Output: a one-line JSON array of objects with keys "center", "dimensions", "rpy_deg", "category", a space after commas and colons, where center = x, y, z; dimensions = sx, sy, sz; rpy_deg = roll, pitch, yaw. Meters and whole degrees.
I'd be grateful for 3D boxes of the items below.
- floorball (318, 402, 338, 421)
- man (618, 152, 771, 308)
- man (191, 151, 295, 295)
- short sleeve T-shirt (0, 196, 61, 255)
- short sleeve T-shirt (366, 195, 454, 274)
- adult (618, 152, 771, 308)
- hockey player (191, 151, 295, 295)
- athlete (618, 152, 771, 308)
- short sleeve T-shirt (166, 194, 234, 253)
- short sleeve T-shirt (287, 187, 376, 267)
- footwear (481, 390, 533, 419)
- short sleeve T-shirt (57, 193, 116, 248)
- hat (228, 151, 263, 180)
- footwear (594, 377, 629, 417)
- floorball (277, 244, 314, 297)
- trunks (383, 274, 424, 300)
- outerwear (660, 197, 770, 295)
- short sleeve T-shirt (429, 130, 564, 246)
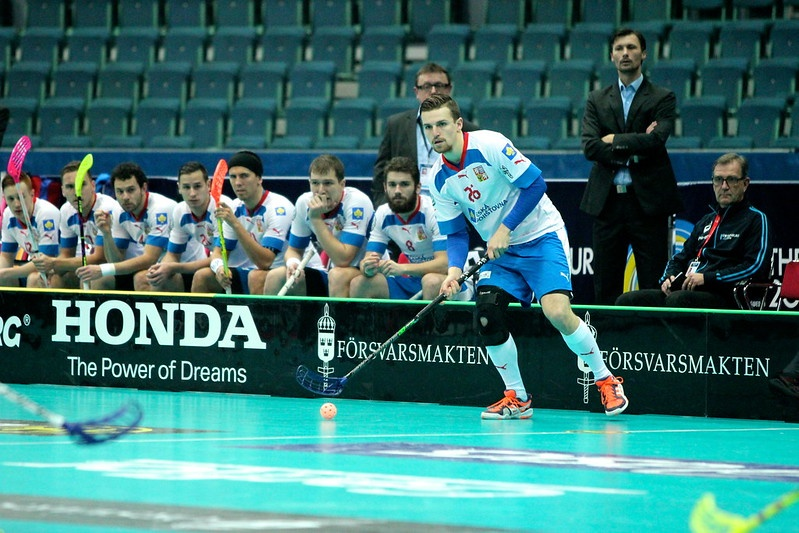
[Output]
[{"center": [-0.510, 1.051, 7.091], "dimensions": [0.109, 0.114, 0.106], "rpy_deg": [3, -12, -13], "category": "floorball"}, {"center": [2.368, -0.102, 7.887], "dimensions": [1.209, 1.731, 0.900], "rpy_deg": [2, 1, -21], "category": "man"}, {"center": [-1.363, -0.107, 8.747], "dimensions": [0.688, 1.759, 0.985], "rpy_deg": [3, 3, 24], "category": "man"}, {"center": [-3.588, -0.399, 9.513], "dimensions": [0.522, 0.439, 0.297], "rpy_deg": [-4, 3, 31], "category": "short sleeve T-shirt"}, {"center": [0.137, -0.322, 8.356], "dimensions": [0.860, 0.716, 0.512], "rpy_deg": [-2, 6, 18], "category": "short sleeve T-shirt"}, {"center": [2.352, -0.107, 7.904], "dimensions": [1.220, 1.708, 0.880], "rpy_deg": [2, 1, -16], "category": "adult"}, {"center": [-1.359, -0.120, 8.753], "dimensions": [0.692, 1.760, 0.961], "rpy_deg": [4, 4, 25], "category": "hockey player"}, {"center": [2.364, -0.091, 7.876], "dimensions": [1.203, 1.726, 0.906], "rpy_deg": [1, 1, -22], "category": "athlete"}, {"center": [-1.835, -0.361, 8.993], "dimensions": [0.820, 0.716, 0.421], "rpy_deg": [0, 0, -1], "category": "short sleeve T-shirt"}, {"center": [-0.600, -0.393, 8.602], "dimensions": [0.817, 0.892, 0.630], "rpy_deg": [1, 1, 39], "category": "short sleeve T-shirt"}, {"center": [0.813, 1.039, 7.280], "dimensions": [0.420, 0.228, 0.168], "rpy_deg": [1, -4, -12], "category": "footwear"}, {"center": [-2.923, -0.436, 9.181], "dimensions": [0.457, 0.478, 0.262], "rpy_deg": [-5, -6, 11], "category": "short sleeve T-shirt"}, {"center": [-1.339, -0.941, 8.693], "dimensions": [0.237, 0.198, 0.249], "rpy_deg": [5, -30, 2], "category": "hat"}, {"center": [1.548, 0.947, 7.124], "dimensions": [0.150, 0.165, 0.382], "rpy_deg": [-34, 4, 8], "category": "footwear"}, {"center": [-0.866, 0.036, 8.279], "dimensions": [0.069, 0.498, 0.085], "rpy_deg": [29, -11, 49], "category": "floorball"}, {"center": [0.047, 0.163, 8.223], "dimensions": [0.170, 0.134, 0.264], "rpy_deg": [-4, -6, 18], "category": "trunks"}, {"center": [2.645, -0.146, 7.910], "dimensions": [0.670, 0.745, 0.884], "rpy_deg": [12, -10, -32], "category": "outerwear"}, {"center": [0.708, -0.580, 7.117], "dimensions": [0.947, 0.812, 0.315], "rpy_deg": [1, 11, 2], "category": "short sleeve T-shirt"}]
